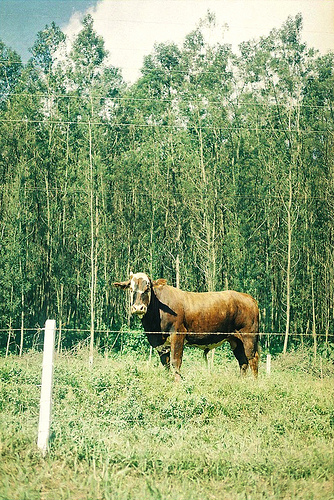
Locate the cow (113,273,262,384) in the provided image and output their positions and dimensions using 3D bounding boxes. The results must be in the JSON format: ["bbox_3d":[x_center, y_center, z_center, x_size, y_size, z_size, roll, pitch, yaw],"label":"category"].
[{"bbox_3d":[0.473,1.427,9.634,2.507,1.798,0.923,3,-4,-17],"label":"cow"}]
